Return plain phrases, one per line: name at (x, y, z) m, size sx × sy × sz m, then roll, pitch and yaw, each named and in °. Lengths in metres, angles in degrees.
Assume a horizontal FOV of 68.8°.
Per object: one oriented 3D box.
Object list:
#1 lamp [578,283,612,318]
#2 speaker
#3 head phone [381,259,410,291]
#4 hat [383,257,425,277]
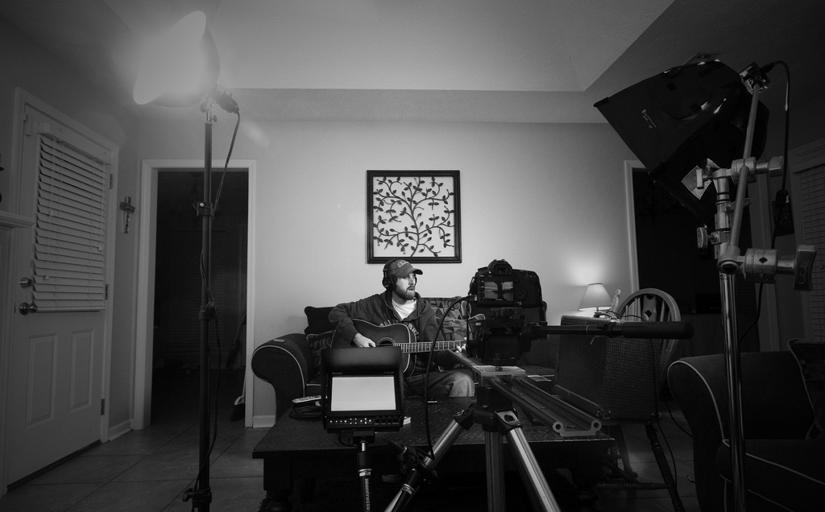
lamp at (1.738, 0.393, 5.730) m, size 0.311 × 0.279 × 0.399 m, roll -3°, pitch -4°, yaw 17°
speaker at (1.275, 0.667, 3.625) m, size 0.394 × 0.608 × 0.686 m, roll 8°, pitch -10°, yaw -16°
head phone at (-0.148, 0.164, 5.127) m, size 0.195 × 0.151 × 0.256 m, roll 2°, pitch -19°, yaw -45°
hat at (-0.093, 0.095, 5.123) m, size 0.260 × 0.095 × 0.166 m, roll -4°, pitch -5°, yaw 43°
